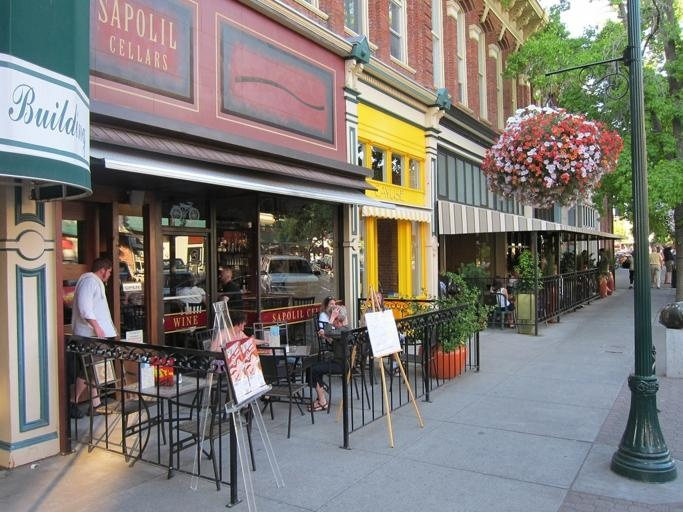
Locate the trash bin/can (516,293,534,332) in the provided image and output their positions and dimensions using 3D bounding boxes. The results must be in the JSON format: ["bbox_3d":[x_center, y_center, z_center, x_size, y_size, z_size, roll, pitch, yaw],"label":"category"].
[{"bbox_3d":[4.810,1.481,16.914,0.512,0.993,0.537,4,9,26],"label":"trash bin/can"}]

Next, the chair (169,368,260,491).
[{"bbox_3d":[-1.582,2.027,8.311,0.954,1.614,1.843,-3,9,-15],"label":"chair"}]

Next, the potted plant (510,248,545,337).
[{"bbox_3d":[4.918,0.788,17.249,0.778,2.351,0.707,6,-7,-38],"label":"potted plant"}]

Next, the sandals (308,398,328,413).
[{"bbox_3d":[-0.398,2.404,10.339,0.390,0.204,0.141,6,-9,-40],"label":"sandals"}]

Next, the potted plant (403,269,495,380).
[{"bbox_3d":[2.150,1.487,12.303,1.184,1.498,0.820,-5,-6,31],"label":"potted plant"}]

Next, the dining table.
[{"bbox_3d":[-2.394,2.228,9.217,0.824,1.202,1.652,8,-6,2],"label":"dining table"}]

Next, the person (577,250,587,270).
[{"bbox_3d":[9.525,0.157,25.437,0.379,0.644,1.515,3,10,22],"label":"person"}]
